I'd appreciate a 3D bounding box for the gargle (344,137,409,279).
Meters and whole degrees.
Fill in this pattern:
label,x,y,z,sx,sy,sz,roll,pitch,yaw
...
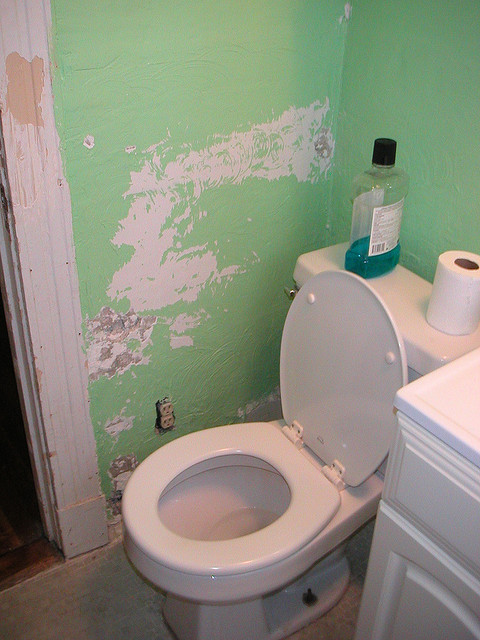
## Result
label,x,y,z,sx,sy,sz,roll,pitch,yaw
gargle,0.268,-0.221,0.988,0.091,0.268,0.084,-24,41,-23

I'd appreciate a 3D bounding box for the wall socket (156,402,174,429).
label,x,y,z,sx,sy,sz,roll,pitch,yaw
wall socket,-0.186,0.230,1.262,0.038,0.070,0.020,-23,43,-38

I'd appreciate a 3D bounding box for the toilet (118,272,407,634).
label,x,y,z,sx,sy,sz,roll,pitch,yaw
toilet,0.036,0.274,1.032,0.446,0.688,0.323,-17,34,-29
